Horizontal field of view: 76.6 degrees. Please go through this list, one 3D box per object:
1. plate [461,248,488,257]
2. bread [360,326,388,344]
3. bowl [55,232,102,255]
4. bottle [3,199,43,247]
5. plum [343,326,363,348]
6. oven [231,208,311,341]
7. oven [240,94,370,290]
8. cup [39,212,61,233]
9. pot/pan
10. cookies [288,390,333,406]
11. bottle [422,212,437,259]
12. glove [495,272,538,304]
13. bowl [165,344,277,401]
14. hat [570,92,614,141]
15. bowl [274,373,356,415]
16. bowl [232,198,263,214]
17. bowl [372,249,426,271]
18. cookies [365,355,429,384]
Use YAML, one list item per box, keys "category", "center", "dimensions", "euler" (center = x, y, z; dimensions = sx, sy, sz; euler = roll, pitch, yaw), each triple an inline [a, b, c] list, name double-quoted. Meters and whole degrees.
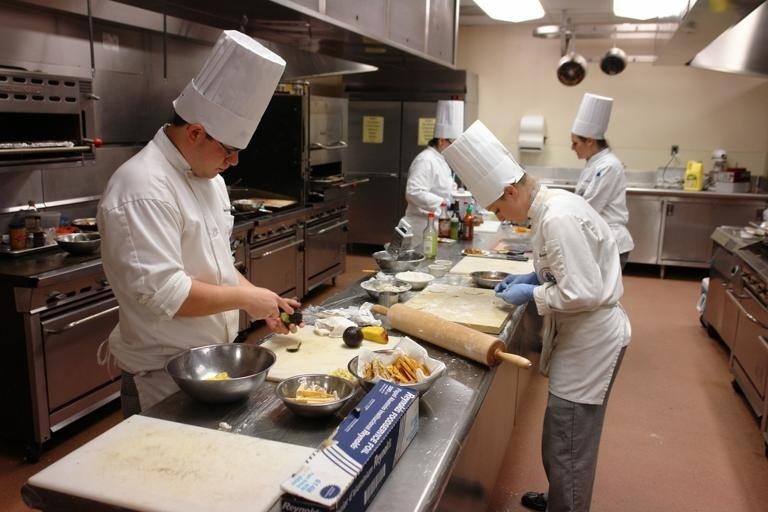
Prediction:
- category: "plate"
  center: [0.690, -0.029, 3.693]
  dimensions: [0.196, 0.033, 0.217]
  euler: [2, 12, 11]
- category: "bread"
  center: [-0.040, 0.354, 2.153]
  dimensions: [0.111, 0.058, 0.043]
  euler: [8, -15, 17]
- category: "bowl"
  center: [-2.003, -0.072, 3.170]
  dimensions: [0.183, 0.064, 0.175]
  euler: [1, 10, 0]
- category: "bottle"
  center: [-2.372, -0.208, 3.212]
  dimensions: [0.189, 0.275, 0.432]
  euler: [-9, 15, -33]
- category: "plum"
  center: [-0.136, 0.357, 2.141]
  dimensions: [0.092, 0.088, 0.085]
  euler: [12, 49, -23]
- category: "oven"
  center: [-1.315, 0.074, 4.767]
  dimensions: [0.727, 0.949, 1.076]
  euler: [6, 16, 24]
- category: "oven"
  center: [-1.022, -0.741, 5.615]
  dimensions: [1.216, 2.173, 1.262]
  euler: [8, 16, 21]
- category: "cup"
  center: [-2.269, -0.228, 3.347]
  dimensions: [0.134, 0.112, 0.149]
  euler: [0, -4, 4]
- category: "pot/pan"
  center: [2.830, -2.812, 6.638]
  dimensions: [0.850, 0.940, 0.765]
  euler: [5, 14, 20]
- category: "cookies"
  center: [-0.241, 0.496, 1.679]
  dimensions: [0.082, 0.016, 0.063]
  euler: [11, 16, -7]
- category: "bottle"
  center: [0.334, -0.151, 3.560]
  dimensions: [0.107, 0.327, 0.256]
  euler: [1, 13, 4]
- category: "glove"
  center: [0.713, 0.167, 2.559]
  dimensions: [0.172, 0.069, 0.214]
  euler: [4, 23, 36]
- category: "bowl"
  center: [-0.690, 0.457, 1.985]
  dimensions: [0.493, 0.169, 0.489]
  euler: [2, -11, 0]
- category: "hat"
  center: [1.998, -1.333, 4.586]
  dimensions: [0.337, 0.378, 0.335]
  euler: [-15, 33, -25]
- category: "bowl"
  center: [-0.242, 0.488, 1.689]
  dimensions: [0.243, 0.066, 0.261]
  euler: [4, 7, 0]
- category: "bowl"
  center: [-1.324, -0.460, 4.578]
  dimensions: [0.261, 0.091, 0.209]
  euler: [1, 3, 32]
- category: "bowl"
  center: [0.121, 0.033, 3.186]
  dimensions: [0.350, 0.095, 0.314]
  euler: [-4, 13, -18]
- category: "cookies"
  center: [0.040, 0.427, 1.830]
  dimensions: [0.229, 0.059, 0.158]
  euler: [2, 12, 11]
